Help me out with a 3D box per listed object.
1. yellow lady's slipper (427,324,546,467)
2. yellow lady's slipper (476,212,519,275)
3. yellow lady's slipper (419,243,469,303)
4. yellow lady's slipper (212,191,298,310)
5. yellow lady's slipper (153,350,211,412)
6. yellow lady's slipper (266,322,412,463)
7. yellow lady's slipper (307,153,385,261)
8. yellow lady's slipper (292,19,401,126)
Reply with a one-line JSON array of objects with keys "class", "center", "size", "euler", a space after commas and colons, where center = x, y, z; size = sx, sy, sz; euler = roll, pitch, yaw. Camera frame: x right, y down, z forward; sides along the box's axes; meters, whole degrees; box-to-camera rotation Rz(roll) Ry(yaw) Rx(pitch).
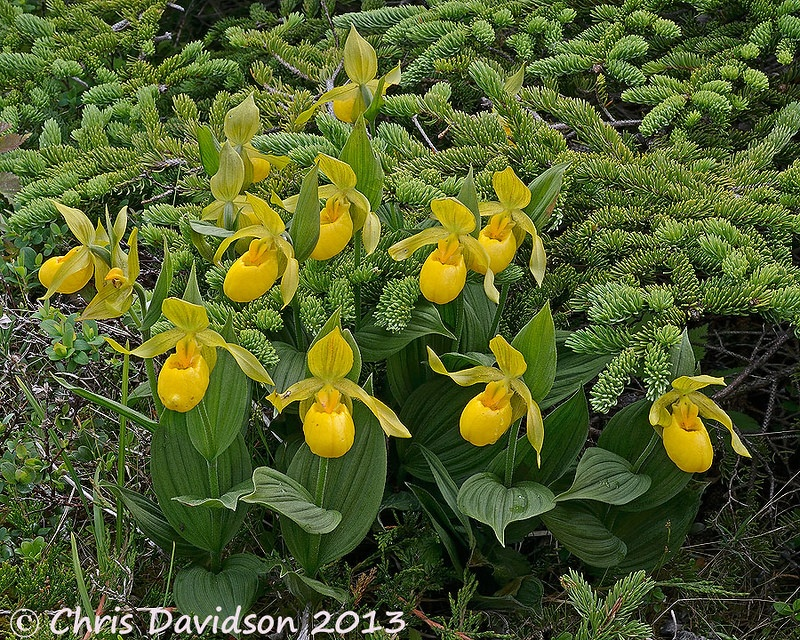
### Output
[{"class": "yellow lady's slipper", "center": [0.316, 0.236, 2.190], "size": [0.327, 0.337, 0.218], "euler": [17, 49, 4]}, {"class": "yellow lady's slipper", "center": [0.340, -0.261, 2.463], "size": [0.152, 0.228, 0.138], "euler": [11, -1, -6]}, {"class": "yellow lady's slipper", "center": [0.159, -0.154, 2.384], "size": [0.123, 0.230, 0.102], "euler": [22, 2, 19]}, {"class": "yellow lady's slipper", "center": [-0.479, -0.231, 2.331], "size": [0.323, 0.342, 0.199], "euler": [17, 18, 22]}, {"class": "yellow lady's slipper", "center": [-0.666, 0.192, 2.108], "size": [0.161, 0.179, 0.164], "euler": [32, 30, 35]}, {"class": "yellow lady's slipper", "center": [-0.207, 0.225, 2.121], "size": [0.527, 0.478, 0.291], "euler": [8, 32, 2]}, {"class": "yellow lady's slipper", "center": [-0.193, -0.403, 2.435], "size": [0.323, 0.412, 0.218], "euler": [7, 24, 19]}, {"class": "yellow lady's slipper", "center": [-0.151, -0.869, 2.497], "size": [0.350, 0.344, 0.194], "euler": [-17, 37, -32]}]
